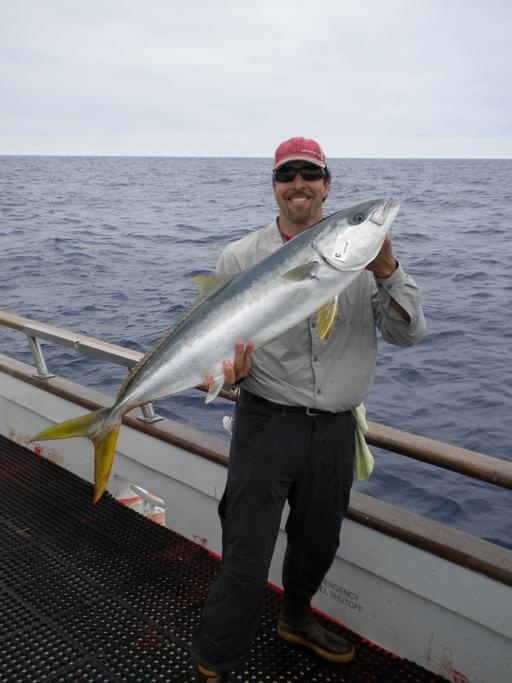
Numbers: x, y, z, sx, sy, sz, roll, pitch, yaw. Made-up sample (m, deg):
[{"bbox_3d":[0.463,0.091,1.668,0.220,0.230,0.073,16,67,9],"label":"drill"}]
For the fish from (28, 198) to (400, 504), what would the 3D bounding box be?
[{"bbox_3d":[-0.103,0.013,1.834,1.023,0.902,0.308,-1,13,-3],"label":"fish"}]

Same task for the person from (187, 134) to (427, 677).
[{"bbox_3d":[0.155,0.249,2.118,0.777,1.953,0.734,0,5,8],"label":"person"}]
